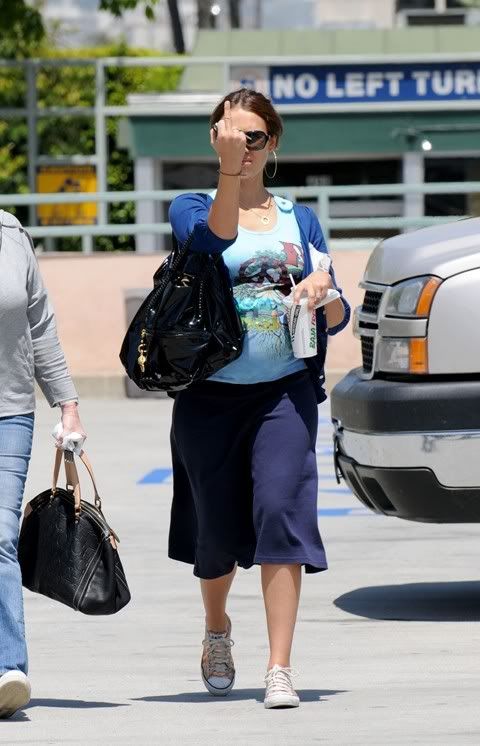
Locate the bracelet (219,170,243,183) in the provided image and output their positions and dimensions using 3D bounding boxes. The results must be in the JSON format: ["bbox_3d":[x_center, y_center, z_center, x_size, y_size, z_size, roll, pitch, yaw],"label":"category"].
[{"bbox_3d":[-0.031,-0.594,4.619,0.062,0.025,0.114,2,13,-3],"label":"bracelet"}]

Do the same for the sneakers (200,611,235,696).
[{"bbox_3d":[-0.071,0.935,5.097,0.076,0.093,0.234,-1,35,0],"label":"sneakers"}]

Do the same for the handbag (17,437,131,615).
[{"bbox_3d":[-0.539,0.459,4.945,0.428,0.555,0.174,17,23,39],"label":"handbag"}]

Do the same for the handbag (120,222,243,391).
[{"bbox_3d":[-0.151,-0.197,4.935,0.275,0.614,0.458,4,-5,7],"label":"handbag"}]

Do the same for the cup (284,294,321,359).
[{"bbox_3d":[0.191,-0.146,4.833,0.119,0.182,0.121,-7,-3,0],"label":"cup"}]

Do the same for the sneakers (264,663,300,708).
[{"bbox_3d":[0.126,0.944,4.718,0.098,0.146,0.056,3,13,3],"label":"sneakers"}]
